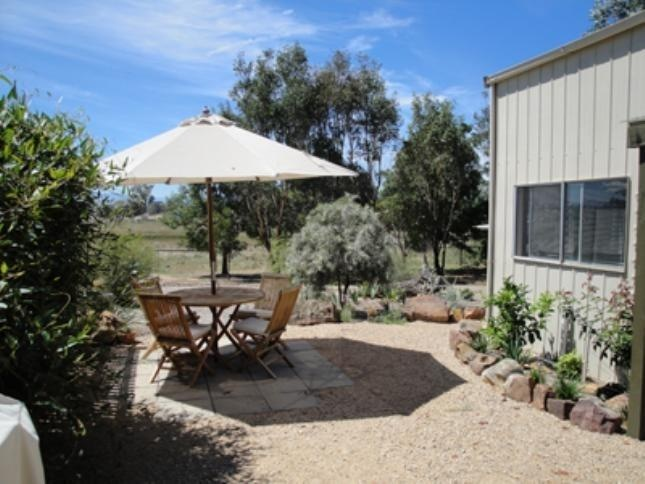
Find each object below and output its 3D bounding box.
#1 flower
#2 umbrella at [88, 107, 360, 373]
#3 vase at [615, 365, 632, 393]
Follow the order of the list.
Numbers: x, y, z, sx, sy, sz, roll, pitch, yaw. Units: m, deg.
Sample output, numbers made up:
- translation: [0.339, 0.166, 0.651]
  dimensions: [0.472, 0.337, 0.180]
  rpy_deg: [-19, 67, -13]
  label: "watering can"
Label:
- translation: [3.454, 0.904, 6.361]
  dimensions: [0.717, 1.220, 0.863]
  rpy_deg: [2, -1, 38]
  label: "flower"
- translation: [-1.336, 0.005, 6.974]
  dimensions: [2.984, 2.647, 3.066]
  rpy_deg: [-6, 9, -35]
  label: "umbrella"
- translation: [3.662, 1.607, 6.189]
  dimensions: [0.075, 0.250, 0.238]
  rpy_deg: [1, 7, 6]
  label: "vase"
